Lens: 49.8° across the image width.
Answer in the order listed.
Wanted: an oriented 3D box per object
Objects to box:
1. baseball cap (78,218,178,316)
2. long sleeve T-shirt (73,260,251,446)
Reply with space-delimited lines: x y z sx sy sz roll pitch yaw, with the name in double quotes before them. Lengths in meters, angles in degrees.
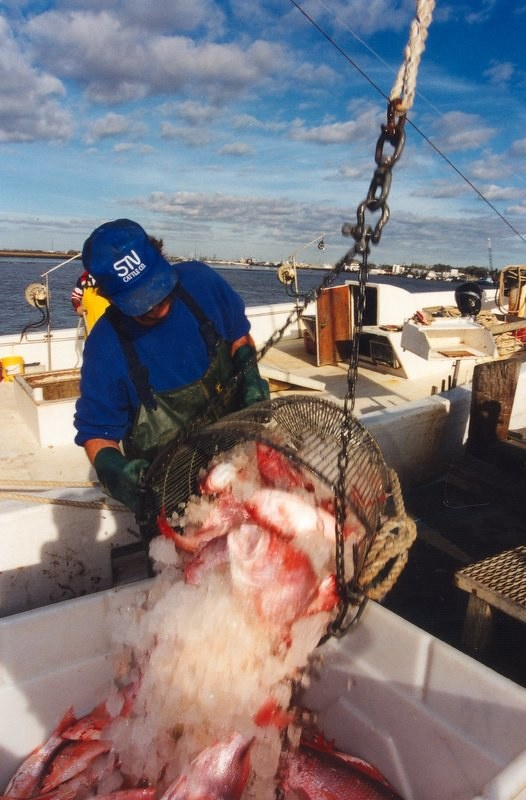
"baseball cap" -0.617 -0.606 2.654 0.434 0.444 0.265 -5 17 -17
"long sleeve T-shirt" -0.482 -0.209 2.789 0.945 0.642 0.310 -35 32 -17
